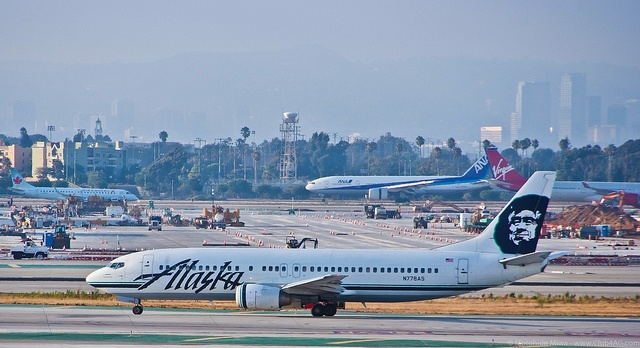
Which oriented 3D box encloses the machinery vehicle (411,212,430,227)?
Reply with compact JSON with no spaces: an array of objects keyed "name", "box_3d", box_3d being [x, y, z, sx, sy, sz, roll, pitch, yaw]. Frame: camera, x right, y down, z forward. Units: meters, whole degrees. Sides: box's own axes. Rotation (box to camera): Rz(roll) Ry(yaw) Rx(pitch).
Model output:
[{"name":"machinery vehicle","box_3d":[106.438,48.599,1339.040,17.666,8.210,15.303,0,-1,-9]}]
